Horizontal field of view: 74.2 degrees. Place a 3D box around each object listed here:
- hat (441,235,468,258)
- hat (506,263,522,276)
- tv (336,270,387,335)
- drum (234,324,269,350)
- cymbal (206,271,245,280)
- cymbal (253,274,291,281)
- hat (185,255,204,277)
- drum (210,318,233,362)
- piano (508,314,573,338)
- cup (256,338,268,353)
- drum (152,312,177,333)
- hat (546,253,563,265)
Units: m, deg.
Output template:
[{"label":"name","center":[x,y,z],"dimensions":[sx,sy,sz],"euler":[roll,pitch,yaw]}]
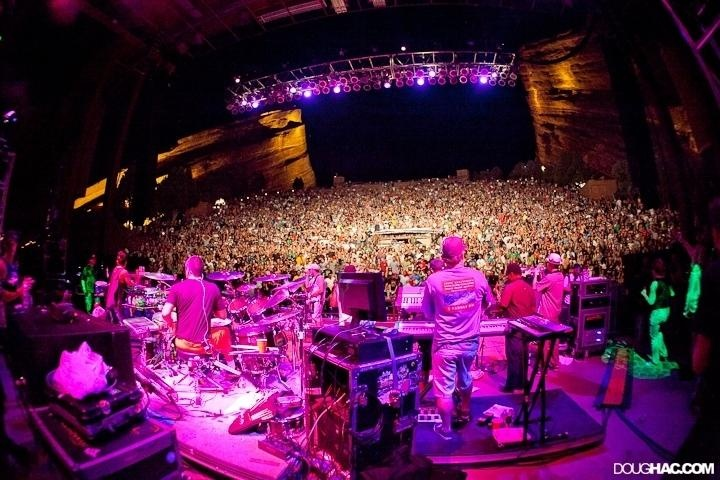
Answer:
[{"label":"hat","center":[1.392,0.083,7.154],"dimensions":[0.317,0.289,0.442],"euler":[-5,1,9]},{"label":"hat","center":[2.790,0.515,8.584],"dimensions":[0.188,0.235,0.242],"euler":[8,19,44]},{"label":"tv","center":[-0.029,0.834,6.833],"dimensions":[0.771,0.725,0.274],"euler":[0,5,36]},{"label":"drum","center":[-1.822,1.631,8.275],"dimensions":[0.575,0.467,0.609],"euler":[-5,-4,0]},{"label":"cymbal","center":[-2.546,0.671,9.099],"dimensions":[0.356,0.079,0.336],"euler":[-2,5,-37]},{"label":"cymbal","center":[-1.725,0.751,9.655],"dimensions":[0.387,0.096,0.406],"euler":[-9,-4,24]},{"label":"hat","center":[-2.849,0.449,8.224],"dimensions":[0.256,0.383,0.434],"euler":[-5,1,-15]},{"label":"drum","center":[-2.418,1.665,8.155],"dimensions":[0.223,0.659,0.447],"euler":[-9,0,-39]},{"label":"piano","center":[2.653,1.283,7.014],"dimensions":[0.853,0.294,0.506],"euler":[-5,1,12]},{"label":"cup","center":[-1.722,1.850,8.395],"dimensions":[0.182,0.205,0.190],"euler":[-1,-3,0]},{"label":"drum","center":[-3.637,1.502,8.785],"dimensions":[0.549,0.325,0.737],"euler":[-1,-14,-14]},{"label":"hat","center":[3.685,0.347,9.064],"dimensions":[0.284,0.134,0.335],"euler":[5,-3,10]}]
